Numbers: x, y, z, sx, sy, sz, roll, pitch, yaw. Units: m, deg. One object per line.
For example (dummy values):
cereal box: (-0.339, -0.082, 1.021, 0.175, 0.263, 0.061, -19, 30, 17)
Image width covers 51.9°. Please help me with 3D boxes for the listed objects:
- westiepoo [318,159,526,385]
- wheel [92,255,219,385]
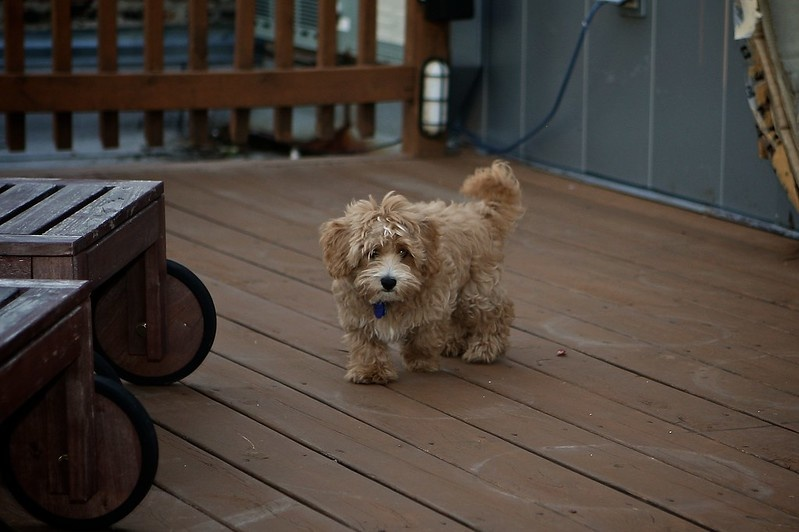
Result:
westiepoo: (0.083, 0.044, 3.734, 0.629, 0.913, 1.099, 9, 17, 39)
wheel: (-0.984, 0.240, 3.293, 0.499, 0.466, 0.176, 0, 10, -13)
